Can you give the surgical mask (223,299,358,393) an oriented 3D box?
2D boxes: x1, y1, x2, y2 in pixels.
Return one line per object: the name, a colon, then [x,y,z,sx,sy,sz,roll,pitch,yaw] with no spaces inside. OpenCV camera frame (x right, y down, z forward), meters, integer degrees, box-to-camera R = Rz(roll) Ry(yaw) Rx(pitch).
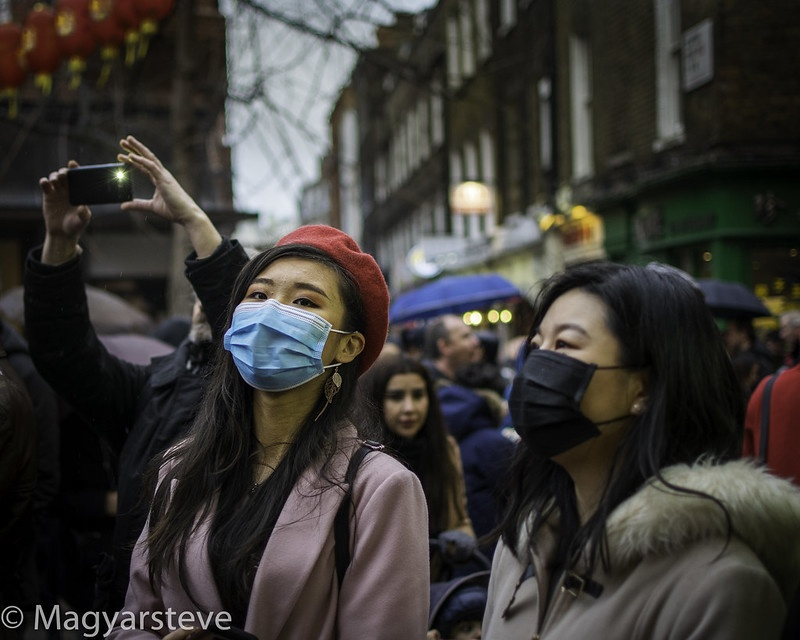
surgical mask: [-0.431,0.090,3.943,0.266,0.231,0.318,8,-3,18]
